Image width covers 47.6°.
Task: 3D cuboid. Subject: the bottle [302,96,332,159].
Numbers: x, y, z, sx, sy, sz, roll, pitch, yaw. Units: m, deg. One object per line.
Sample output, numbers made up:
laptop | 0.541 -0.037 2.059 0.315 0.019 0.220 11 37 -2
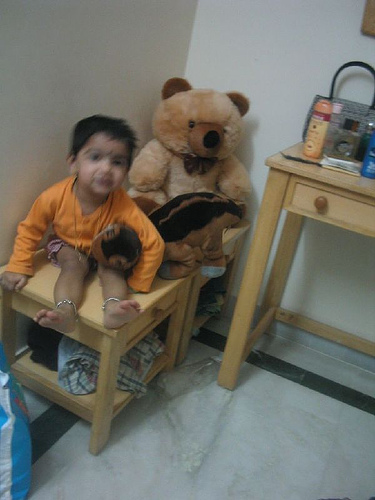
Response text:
bottle | 0.352 -0.320 1.131 0.059 0.147 0.063 10 20 -4

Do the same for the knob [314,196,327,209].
knob | 0.324 -0.115 1.034 0.025 0.030 0.021 6 21 -14

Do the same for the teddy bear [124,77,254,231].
teddy bear | 0.016 -0.307 1.385 0.451 0.434 0.357 1 32 -23

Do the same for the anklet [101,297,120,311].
anklet | -0.181 0.124 0.962 0.029 0.020 0.033 -10 61 6

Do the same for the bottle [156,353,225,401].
bottle | 0.020 0.407 1.392 0.299 0.046 0.118 -4 24 -35

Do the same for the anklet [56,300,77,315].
anklet | -0.273 0.124 0.929 0.039 0.034 0.009 -7 19 7
